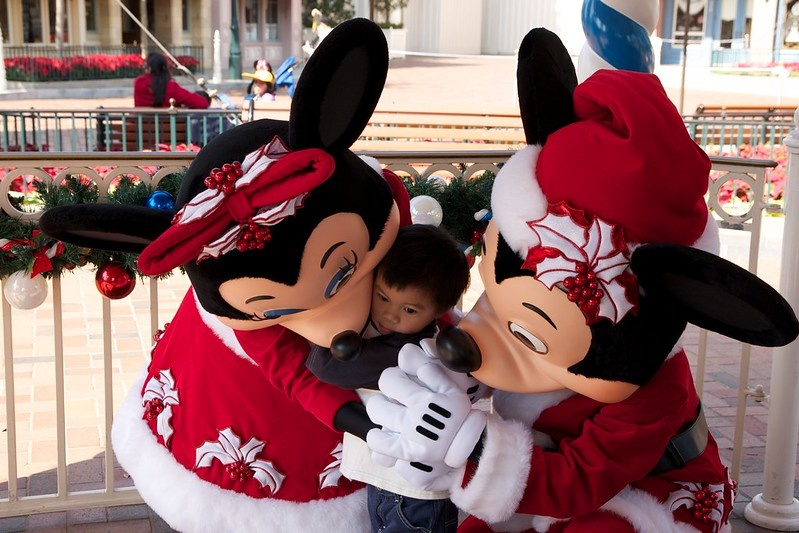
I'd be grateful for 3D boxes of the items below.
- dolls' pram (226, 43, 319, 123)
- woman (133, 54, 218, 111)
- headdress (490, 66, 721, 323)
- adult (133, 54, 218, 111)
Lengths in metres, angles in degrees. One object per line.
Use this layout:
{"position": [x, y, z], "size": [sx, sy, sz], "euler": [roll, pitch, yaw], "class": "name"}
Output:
{"position": [-1.995, -2.903, 11.924], "size": [1.480, 0.767, 0.519], "euler": [-20, 27, -23], "class": "dolls' pram"}
{"position": [-3.039, -2.327, 10.203], "size": [1.052, 0.933, 0.782], "euler": [-7, 30, -40], "class": "woman"}
{"position": [0.577, -0.209, 2.588], "size": [0.767, 0.743, 0.482], "euler": [-17, -26, -15], "class": "headdress"}
{"position": [-3.063, -2.291, 10.171], "size": [0.996, 0.934, 0.759], "euler": [-1, 19, -46], "class": "adult"}
